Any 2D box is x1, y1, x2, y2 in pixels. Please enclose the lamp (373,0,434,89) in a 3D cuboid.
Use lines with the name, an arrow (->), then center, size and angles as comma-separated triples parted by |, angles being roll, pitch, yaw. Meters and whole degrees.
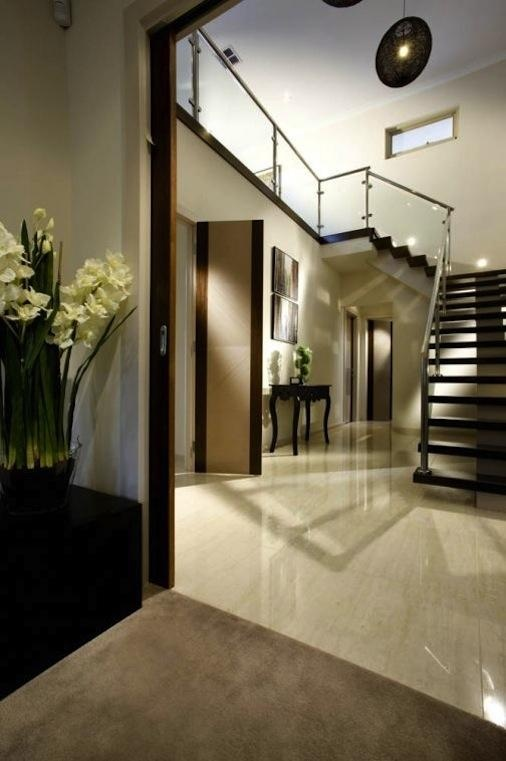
lamp -> 1.061, -2.410, 3.691 | 0.367, 0.495, 0.398 | 1, 2, 18
